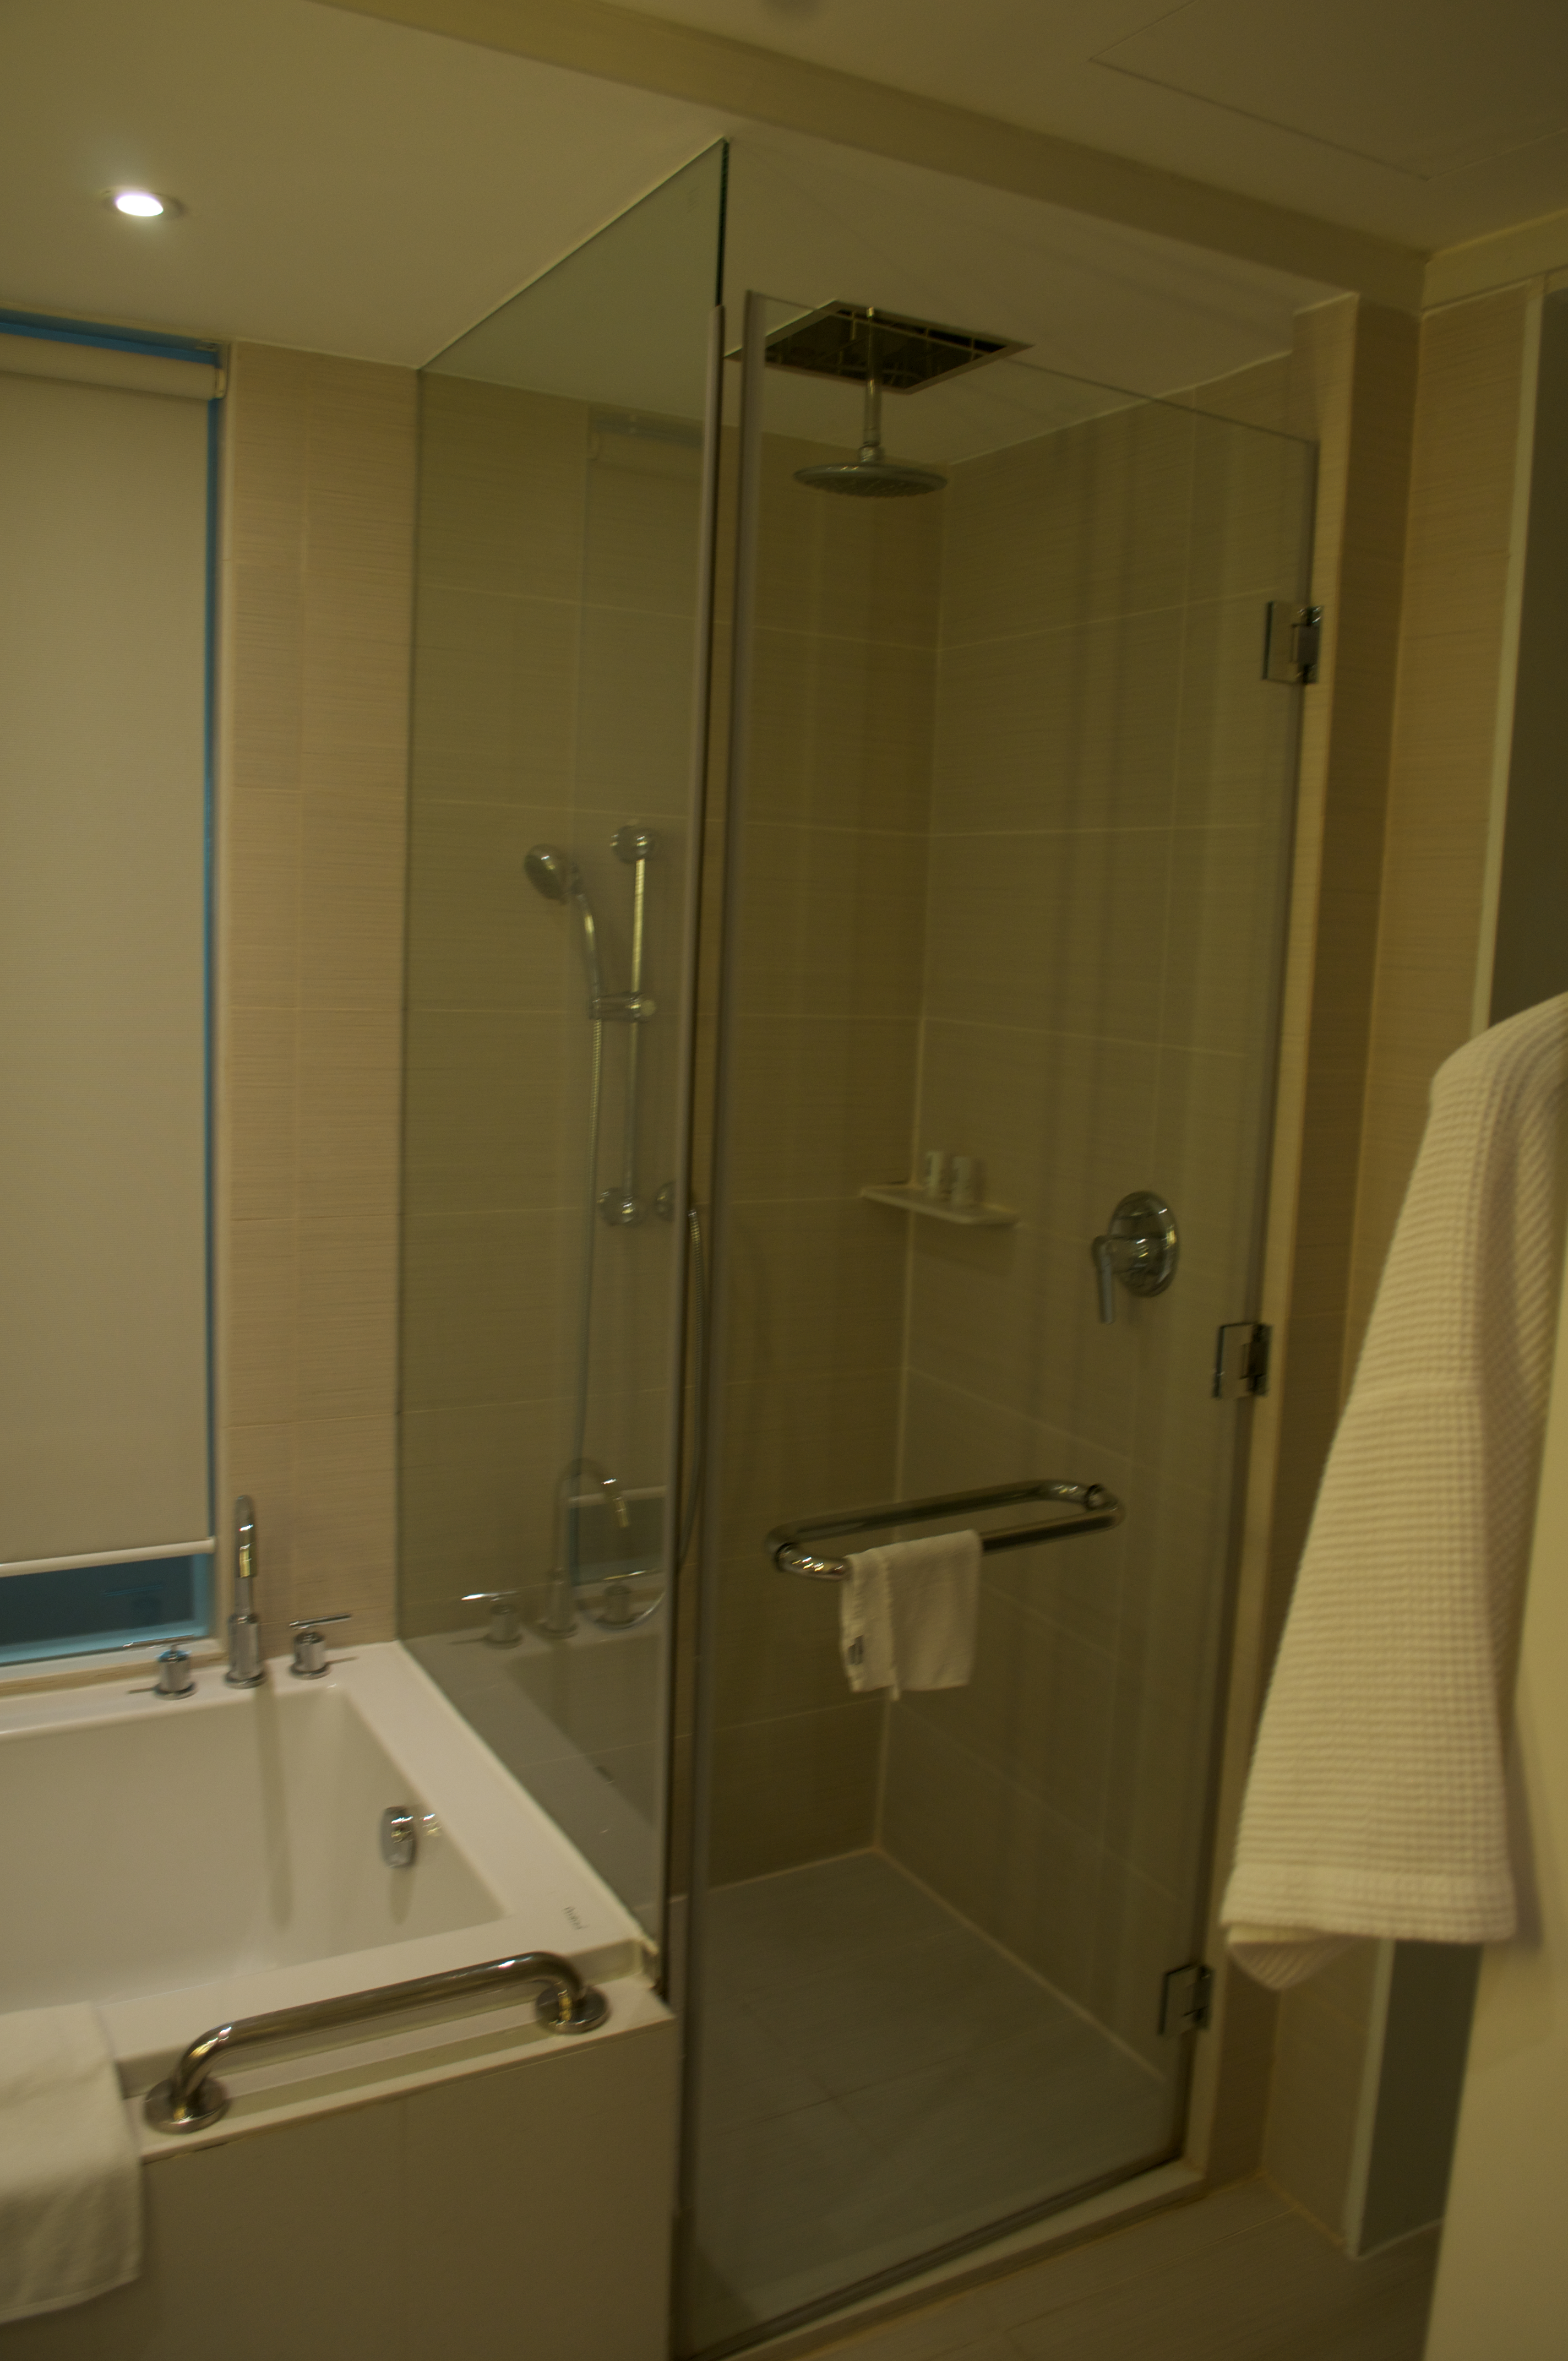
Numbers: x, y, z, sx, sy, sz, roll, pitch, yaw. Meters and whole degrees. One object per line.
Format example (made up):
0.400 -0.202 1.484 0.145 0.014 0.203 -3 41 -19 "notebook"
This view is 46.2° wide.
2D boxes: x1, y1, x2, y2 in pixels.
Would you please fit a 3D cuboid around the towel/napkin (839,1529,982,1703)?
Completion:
0.127 0.454 1.932 0.190 0.194 0.045 -4 5 -32 "towel/napkin"
